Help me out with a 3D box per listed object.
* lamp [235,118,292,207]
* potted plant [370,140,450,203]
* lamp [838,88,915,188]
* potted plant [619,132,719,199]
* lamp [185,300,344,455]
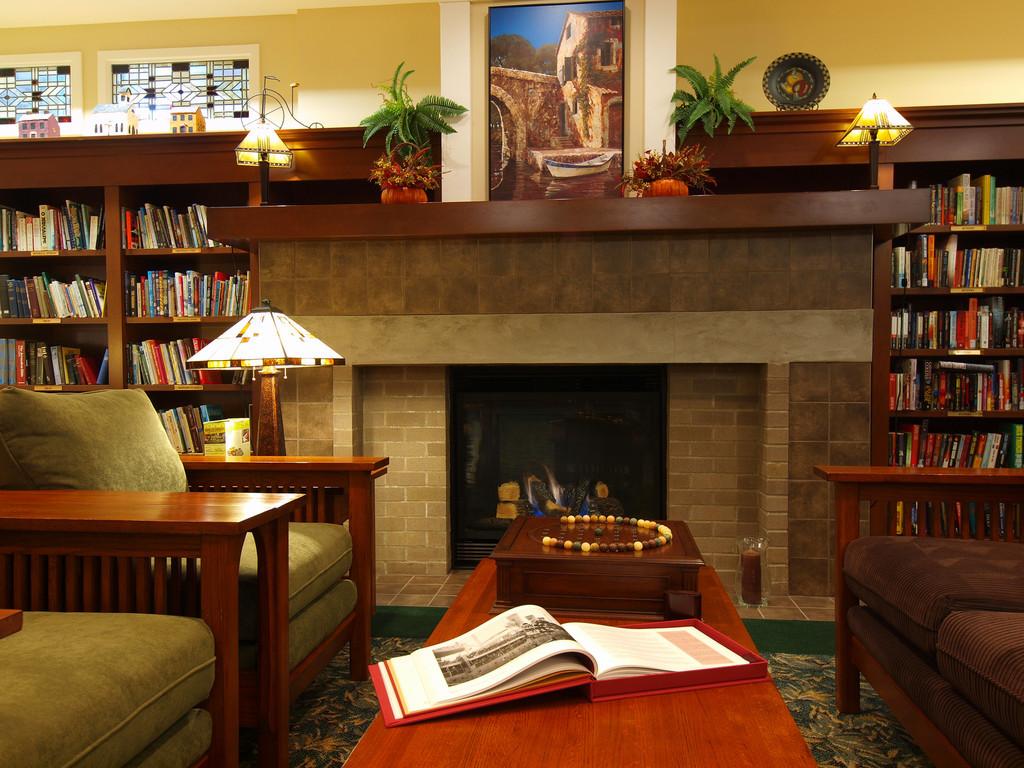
[{"bbox_3d":[-1.258,-1.166,4.712,0.278,0.498,0.547,-3,4,-16],"label":"lamp"},{"bbox_3d":[-0.492,-1.002,4.503,0.375,0.340,0.370,0,-3,-5],"label":"potted plant"},{"bbox_3d":[1.627,-1.102,4.200,0.338,0.374,0.322,0,2,-3],"label":"lamp"},{"bbox_3d":[0.735,-0.991,4.438,0.374,0.225,0.362,-1,1,-4],"label":"potted plant"},{"bbox_3d":[-1.019,-0.012,3.918,0.634,0.658,0.652,1,3,17],"label":"lamp"}]
